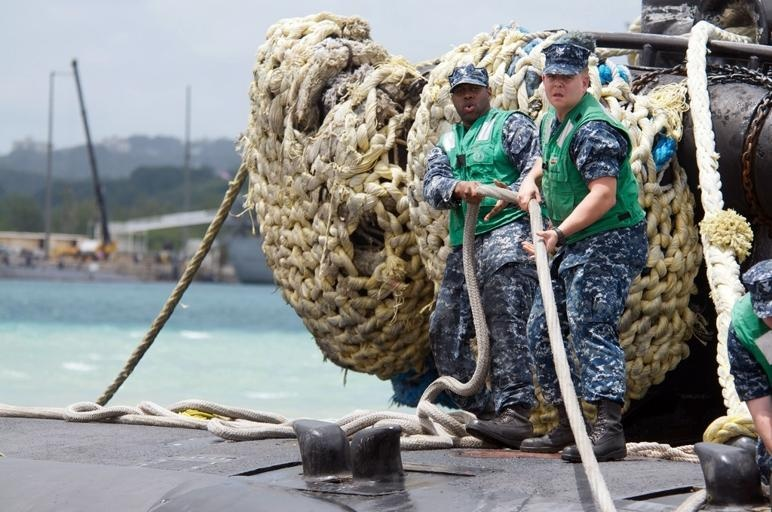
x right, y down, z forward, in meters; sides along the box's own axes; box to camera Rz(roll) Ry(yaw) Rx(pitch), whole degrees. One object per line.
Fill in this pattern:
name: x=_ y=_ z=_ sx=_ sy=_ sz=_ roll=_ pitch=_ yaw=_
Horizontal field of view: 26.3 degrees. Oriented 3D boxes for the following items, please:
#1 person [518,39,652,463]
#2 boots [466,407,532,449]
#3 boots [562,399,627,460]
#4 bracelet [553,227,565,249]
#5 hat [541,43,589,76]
person: x=1.109 y=-0.062 z=9.462 sx=0.675 sy=2.429 sz=0.717 roll=1 pitch=2 yaw=16
boots: x=0.697 y=1.017 z=9.747 sx=0.484 sy=0.252 sz=0.166 roll=13 pitch=-9 yaw=-19
boots: x=1.177 y=0.987 z=9.371 sx=0.446 sy=0.373 sz=0.168 roll=0 pitch=0 yaw=-36
bracelet: x=0.958 y=-0.113 z=9.168 sx=0.074 sy=0.105 sz=0.101 roll=-3 pitch=-7 yaw=-4
hat: x=1.016 y=-1.132 z=9.383 sx=0.257 sy=0.184 sz=0.099 roll=1 pitch=2 yaw=5
